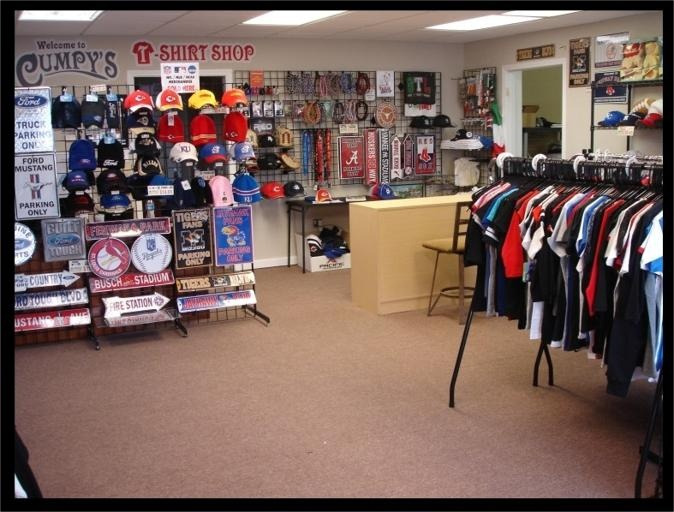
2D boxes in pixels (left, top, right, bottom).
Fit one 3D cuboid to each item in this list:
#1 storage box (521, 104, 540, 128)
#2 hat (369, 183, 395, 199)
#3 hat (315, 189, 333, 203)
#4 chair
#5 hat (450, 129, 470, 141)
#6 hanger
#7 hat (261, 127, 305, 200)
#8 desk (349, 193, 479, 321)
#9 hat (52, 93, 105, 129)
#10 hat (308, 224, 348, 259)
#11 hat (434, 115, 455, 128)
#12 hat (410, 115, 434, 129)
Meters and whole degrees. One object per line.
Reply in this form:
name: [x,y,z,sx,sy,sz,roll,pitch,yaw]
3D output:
storage box: [3.311,-2.370,8.867,0.218,0.384,0.569,5,14,29]
hat: [0.707,-1.003,8.239,0.217,0.204,0.366,16,10,21]
hat: [-0.231,-0.907,7.950,0.175,0.139,0.260,-3,7,-14]
chair: [1.214,0.009,5.688,0.565,1.318,1.125,2,13,15]
hat: [2.038,-1.977,8.544,0.142,0.195,0.436,-2,11,-9]
hanger: [1.542,-0.519,3.234,0.398,0.215,0.691,-7,12,-39]
hat: [-0.836,-1.360,7.752,0.688,1.074,0.440,-6,13,-20]
desk: [0.838,0.052,5.659,1.289,1.108,0.490,-4,6,-27]
hat: [-2.572,-1.415,5.144,0.500,0.357,0.116,0,4,-17]
hat: [-0.137,-0.158,7.903,0.507,0.240,0.517,6,20,0]
hat: [1.796,-2.238,8.667,0.533,0.218,0.278,-11,15,-35]
hat: [1.381,-2.158,8.464,0.223,0.136,0.314,-4,9,-29]
